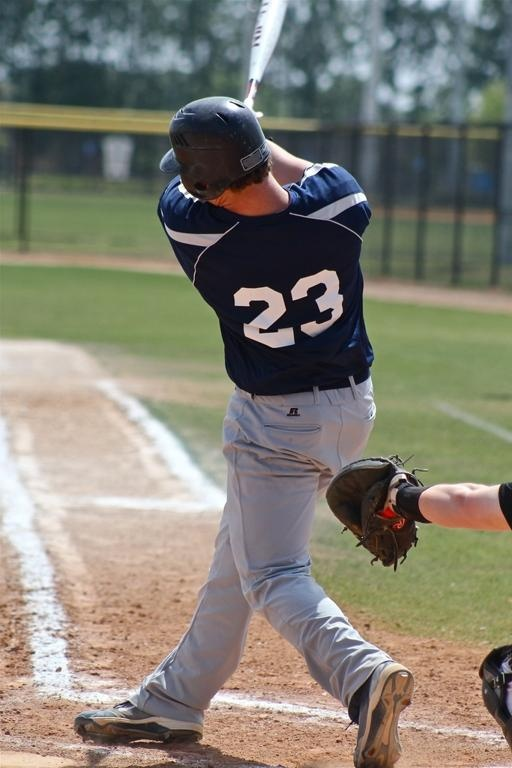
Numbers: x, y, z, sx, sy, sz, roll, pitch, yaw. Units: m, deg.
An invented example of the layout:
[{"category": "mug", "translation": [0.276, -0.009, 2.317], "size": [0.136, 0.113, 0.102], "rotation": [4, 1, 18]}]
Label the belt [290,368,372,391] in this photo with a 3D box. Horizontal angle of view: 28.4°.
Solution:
[{"category": "belt", "translation": [0.170, -0.002, 2.242], "size": [0.105, 0.021, 0.070], "rotation": [-13, 3, 16]}]

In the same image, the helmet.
[{"category": "helmet", "translation": [-0.079, -0.499, 2.128], "size": [0.206, 0.224, 0.142], "rotation": [8, 10, 37]}]

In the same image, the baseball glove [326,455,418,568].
[{"category": "baseball glove", "translation": [0.272, 0.283, 2.374], "size": [0.215, 0.285, 0.092], "rotation": [-17, 45, 7]}]

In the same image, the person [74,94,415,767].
[{"category": "person", "translation": [0.077, 0.133, 2.241], "size": [0.799, 1.500, 0.489], "rotation": [7, 10, 30]}]

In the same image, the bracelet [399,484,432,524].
[{"category": "bracelet", "translation": [0.326, 0.260, 2.207], "size": [0.071, 0.075, 0.069], "rotation": [14, -37, -42]}]
